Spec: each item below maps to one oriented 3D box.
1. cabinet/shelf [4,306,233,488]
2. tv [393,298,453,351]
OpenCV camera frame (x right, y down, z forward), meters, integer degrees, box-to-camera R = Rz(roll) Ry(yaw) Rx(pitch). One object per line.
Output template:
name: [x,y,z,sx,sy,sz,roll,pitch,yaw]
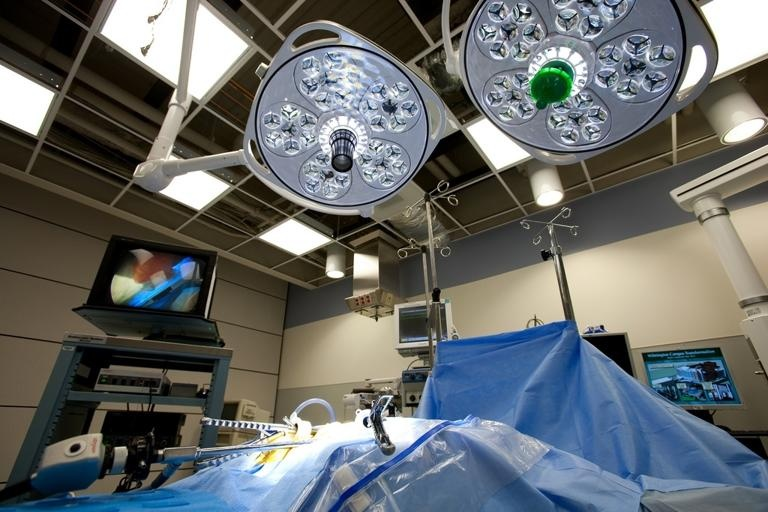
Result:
cabinet/shelf: [-1.481,0.789,2.597,0.926,0.935,0.609,7,-25,-23]
tv: [0.372,0.682,4.234,0.662,0.606,0.368,-10,-26,22]
